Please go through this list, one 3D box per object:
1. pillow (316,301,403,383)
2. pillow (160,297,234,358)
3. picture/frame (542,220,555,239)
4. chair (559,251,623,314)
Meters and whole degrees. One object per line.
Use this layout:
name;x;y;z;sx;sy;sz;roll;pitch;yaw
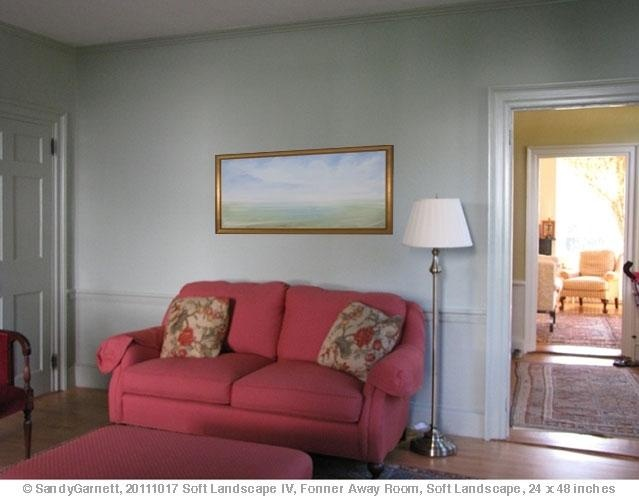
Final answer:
pillow;0.274;0.620;3.432;0.490;0.448;0.314;9;3;33
pillow;-0.935;0.580;3.761;0.473;0.456;0.146;-1;-28;19
picture/frame;4.482;-0.411;9.721;0.228;0.402;0.161;7;3;-9
chair;5.025;0.553;9.195;0.924;1.127;0.904;0;0;37
